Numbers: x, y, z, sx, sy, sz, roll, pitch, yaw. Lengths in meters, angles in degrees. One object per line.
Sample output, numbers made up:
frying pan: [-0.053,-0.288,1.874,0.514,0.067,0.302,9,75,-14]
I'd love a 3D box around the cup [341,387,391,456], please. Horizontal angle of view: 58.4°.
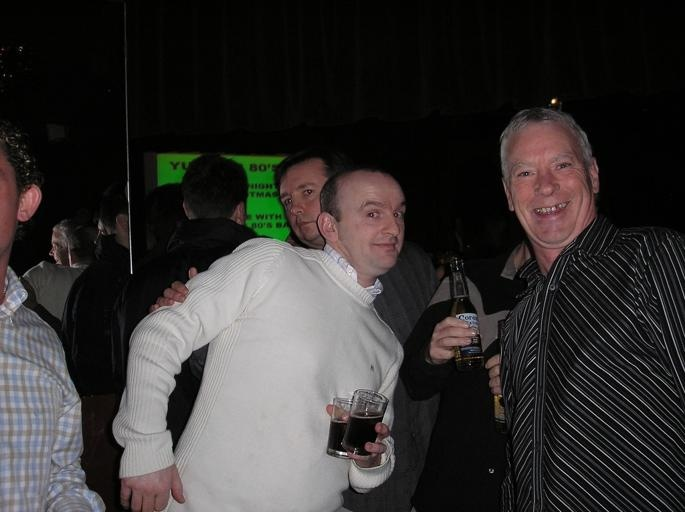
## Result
cup: [0.098,0.682,2.506,0.190,0.266,0.082,-1,-3,-37]

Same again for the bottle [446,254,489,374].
bottle: [0.591,0.264,2.963,0.152,0.525,0.433,-3,-3,11]
